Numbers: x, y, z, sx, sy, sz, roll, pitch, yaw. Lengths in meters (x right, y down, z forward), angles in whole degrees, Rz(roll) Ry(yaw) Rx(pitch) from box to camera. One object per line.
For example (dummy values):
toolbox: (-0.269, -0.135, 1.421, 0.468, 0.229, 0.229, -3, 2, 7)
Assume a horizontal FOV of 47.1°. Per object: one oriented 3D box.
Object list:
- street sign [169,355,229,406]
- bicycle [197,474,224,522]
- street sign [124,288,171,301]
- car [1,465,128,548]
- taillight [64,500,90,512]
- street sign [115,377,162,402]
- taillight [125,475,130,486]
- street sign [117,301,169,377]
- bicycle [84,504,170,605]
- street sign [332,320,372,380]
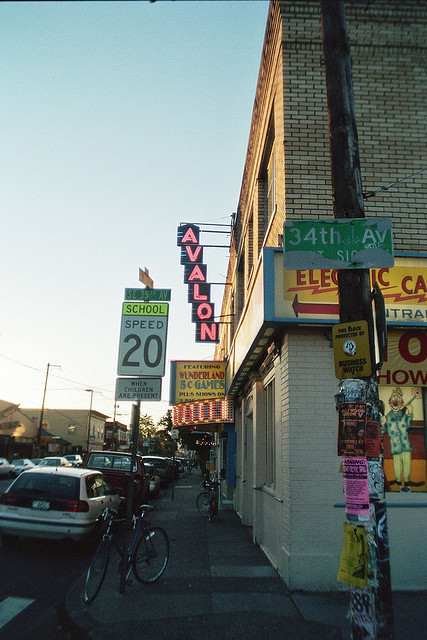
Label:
street sign: (-0.491, 1.750, 17.594, 2.170, 1.660, 1.404, -3, 26, -9)
bicycle: (-0.013, 4.774, 13.450, 0.645, 1.042, 1.580, 13, 1, -6)
street sign: (-0.892, -0.351, 6.640, 0.597, 0.217, 0.208, 1, -14, 0)
car: (-2.592, 2.892, 8.285, 1.566, 1.427, 2.851, -1, -10, 6)
taillight: (-2.174, 2.945, 7.848, 0.360, 0.174, 0.151, 1, -14, -1)
street sign: (-0.909, 0.825, 6.060, 0.534, 0.315, 0.398, 6, -15, -18)
taillight: (-2.304, 4.229, 13.097, 0.084, 0.251, 0.563, 4, -16, -13)
street sign: (-0.900, 0.280, 6.420, 0.615, 1.241, 0.127, 3, -43, -7)
bicycle: (-1.032, 2.712, 5.858, 0.303, 0.913, 1.361, 1, -9, 41)
street sign: (1.034, 0.208, 3.579, 0.033, 0.485, 0.303, 11, -18, -43)
